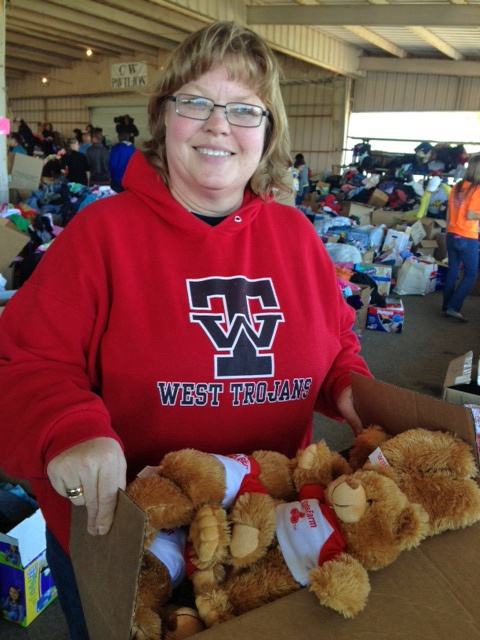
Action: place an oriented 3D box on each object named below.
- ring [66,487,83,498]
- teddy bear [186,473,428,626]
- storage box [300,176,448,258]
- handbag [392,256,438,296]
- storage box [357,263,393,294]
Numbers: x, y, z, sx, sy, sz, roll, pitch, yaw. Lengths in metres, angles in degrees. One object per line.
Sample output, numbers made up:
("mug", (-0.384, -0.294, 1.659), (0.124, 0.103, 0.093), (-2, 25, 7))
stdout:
("ring", (-0.201, 0.206, 0.592), (0.012, 0.008, 0.016), (-2, -10, -4))
("teddy bear", (0.085, 0.289, 0.622), (0.213, 0.083, 0.183), (-15, 27, -7))
("storage box", (2.099, -1.540, 7.295), (2.135, 0.649, 2.065), (15, 23, 13))
("handbag", (2.321, -0.628, 6.603), (0.600, 0.555, 0.428), (-3, 23, -26))
("storage box", (1.431, -0.463, 5.286), (0.431, 0.340, 0.150), (4, 12, 10))
